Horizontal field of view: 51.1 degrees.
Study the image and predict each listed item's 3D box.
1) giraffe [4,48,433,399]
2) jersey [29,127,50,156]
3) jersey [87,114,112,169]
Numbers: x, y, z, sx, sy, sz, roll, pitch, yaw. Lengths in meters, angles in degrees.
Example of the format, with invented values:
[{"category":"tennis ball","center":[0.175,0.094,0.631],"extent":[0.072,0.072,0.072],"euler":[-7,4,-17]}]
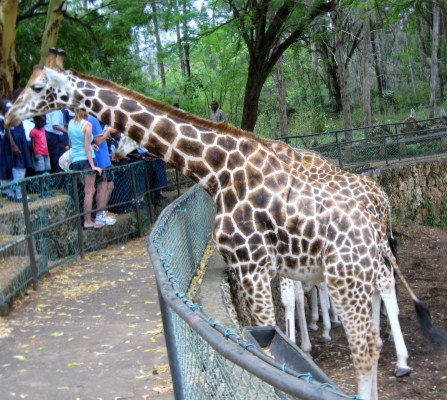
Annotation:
[{"category":"giraffe","center":[-0.085,0.056,4.485],"extent":[3.811,3.276,1.585],"euler":[0,8,27]},{"category":"jersey","center":[-3.331,-1.059,8.376],"extent":[0.254,0.559,0.526],"euler":[0,4,25]},{"category":"jersey","center":[-2.083,-1.056,8.224],"extent":[0.254,1.011,0.344],"euler":[7,5,0]}]
